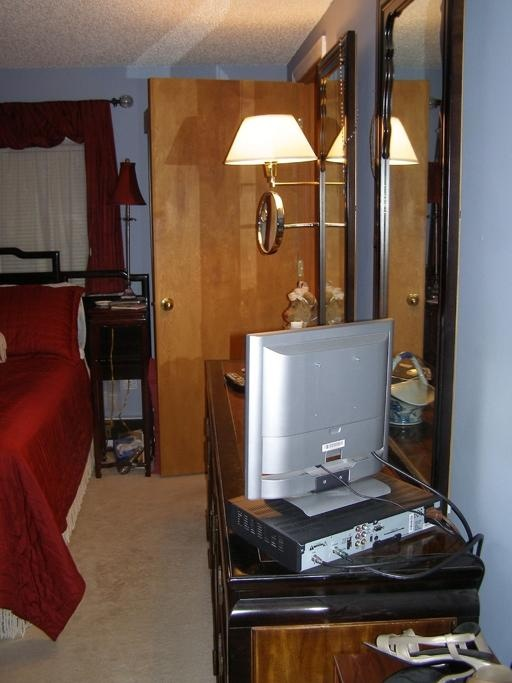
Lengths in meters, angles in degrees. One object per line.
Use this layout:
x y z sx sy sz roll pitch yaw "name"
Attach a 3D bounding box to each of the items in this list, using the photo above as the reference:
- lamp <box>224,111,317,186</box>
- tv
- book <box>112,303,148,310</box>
0.044 -0.647 2.029 0.315 0.249 0.346 1 25 11 "lamp"
0.104 0.132 0.988 0.253 0.280 0.092 -7 17 -31 "tv"
-0.704 -0.190 3.312 0.191 0.024 0.094 0 9 -3 "book"
